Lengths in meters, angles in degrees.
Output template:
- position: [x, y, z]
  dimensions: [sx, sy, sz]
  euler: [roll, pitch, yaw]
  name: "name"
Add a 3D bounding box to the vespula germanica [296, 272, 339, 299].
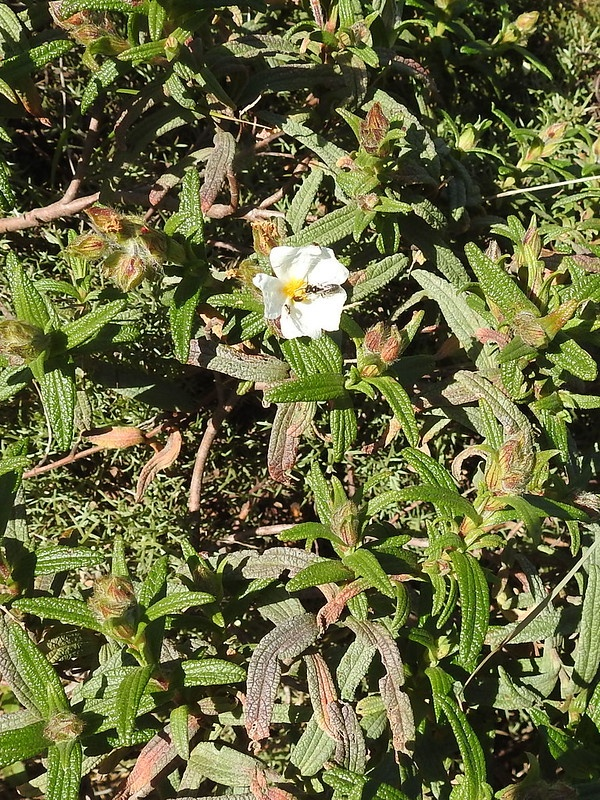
- position: [0.035, -0.212, 1.515]
  dimensions: [0.054, 0.038, 0.017]
  euler: [-7, -18, -5]
  name: "vespula germanica"
